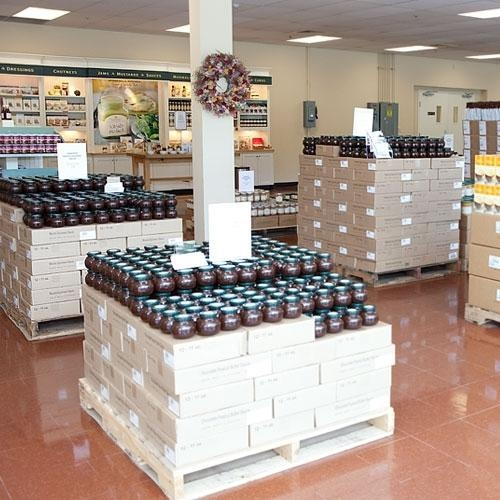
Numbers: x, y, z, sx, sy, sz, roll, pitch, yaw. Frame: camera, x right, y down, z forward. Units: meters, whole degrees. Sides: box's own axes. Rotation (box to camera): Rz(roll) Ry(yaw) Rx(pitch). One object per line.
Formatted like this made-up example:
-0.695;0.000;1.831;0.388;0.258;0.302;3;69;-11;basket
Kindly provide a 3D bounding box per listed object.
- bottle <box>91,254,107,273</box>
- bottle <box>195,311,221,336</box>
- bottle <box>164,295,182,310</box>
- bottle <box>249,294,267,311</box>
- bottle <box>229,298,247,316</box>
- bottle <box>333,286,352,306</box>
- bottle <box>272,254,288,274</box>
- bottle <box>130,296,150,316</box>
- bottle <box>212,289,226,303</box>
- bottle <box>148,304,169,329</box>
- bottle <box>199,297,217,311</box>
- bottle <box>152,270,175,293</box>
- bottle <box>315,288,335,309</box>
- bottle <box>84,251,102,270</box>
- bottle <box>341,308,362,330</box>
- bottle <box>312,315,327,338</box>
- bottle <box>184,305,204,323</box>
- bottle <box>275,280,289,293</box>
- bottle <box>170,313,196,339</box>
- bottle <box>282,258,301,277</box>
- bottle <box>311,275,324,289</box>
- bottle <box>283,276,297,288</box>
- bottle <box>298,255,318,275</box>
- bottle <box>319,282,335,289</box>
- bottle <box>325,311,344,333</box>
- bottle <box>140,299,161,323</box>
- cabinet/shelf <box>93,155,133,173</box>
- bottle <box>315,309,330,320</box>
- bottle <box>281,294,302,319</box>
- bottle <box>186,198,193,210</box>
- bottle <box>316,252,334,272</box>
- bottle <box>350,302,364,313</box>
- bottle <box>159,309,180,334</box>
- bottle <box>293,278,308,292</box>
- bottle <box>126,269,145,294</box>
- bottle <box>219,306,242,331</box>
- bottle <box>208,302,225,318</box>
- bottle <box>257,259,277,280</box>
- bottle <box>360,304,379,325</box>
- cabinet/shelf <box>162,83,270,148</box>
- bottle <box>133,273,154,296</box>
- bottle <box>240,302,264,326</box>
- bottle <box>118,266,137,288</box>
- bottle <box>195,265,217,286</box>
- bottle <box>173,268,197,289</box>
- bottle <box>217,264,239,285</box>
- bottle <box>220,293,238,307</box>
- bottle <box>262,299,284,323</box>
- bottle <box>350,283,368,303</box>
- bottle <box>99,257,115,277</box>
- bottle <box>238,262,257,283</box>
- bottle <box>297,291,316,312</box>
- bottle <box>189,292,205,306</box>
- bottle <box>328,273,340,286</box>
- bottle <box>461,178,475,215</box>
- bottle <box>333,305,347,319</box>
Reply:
-0.860;0.078;2.667;0.119;0.088;0.107;-1;7;-22;bottle
-0.163;0.294;1.881;0.111;0.077;0.097;0;1;-3;bottle
-0.339;0.231;2.072;0.060;0.041;0.054;1;6;-3;bottle
0.039;0.227;2.096;0.073;0.053;0.044;1;7;9;bottle
-0.050;0.243;2.049;0.072;0.051;0.056;1;6;-2;bottle
0.456;0.233;2.379;0.108;0.080;0.095;0;1;-4;bottle
0.171;0.077;2.486;0.101;0.073;0.089;2;9;6;bottle
-0.516;0.255;2.164;0.107;0.078;0.094;1;1;-2;bottle
-0.138;0.206;2.137;0.060;0.033;0.050;-2;8;-16;bottle
-0.397;0.285;1.983;0.103;0.082;0.094;2;2;0;bottle
-0.182;0.238;2.043;0.059;0.042;0.053;-1;7;-19;bottle
-0.391;0.147;2.191;0.110;0.082;0.105;-1;3;0;bottle
0.354;0.241;2.310;0.112;0.083;0.098;0;0;-4;bottle
-0.945;0.060;2.782;0.129;0.106;0.114;0;7;5;bottle
0.508;0.340;2.304;0.066;0.101;0.084;4;11;36;bottle
0.331;0.355;2.192;0.035;0.102;0.108;3;10;30;bottle
-0.235;0.267;1.947;0.072;0.050;0.063;1;4;-3;bottle
0.160;0.182;2.322;0.060;0.040;0.053;-2;6;-18;bottle
-0.258;0.299;1.842;0.111;0.080;0.097;1;3;1;bottle
0.218;0.095;2.472;0.110;0.081;0.096;0;0;1;bottle
0.352;0.167;2.403;0.063;0.025;0.054;0;17;2;bottle
0.209;0.167;2.409;0.057;0.041;0.051;-2;6;-16;bottle
0.323;0.085;2.553;0.089;0.098;0.111;-1;8;7;bottle
0.384;0.184;2.358;0.071;0.028;0.075;-1;8;0;bottle
0.405;0.345;2.279;0.107;0.080;0.094;-2;11;-11;bottle
-0.440;0.268;2.068;0.108;0.086;0.098;2;3;0;bottle
-3.340;-2.071;11.283;0.649;0.478;0.228;-5;13;-28;cabinet/shelf
0.347;0.309;2.260;0.057;0.041;0.050;2;6;11;bottle
0.190;0.253;2.100;0.110;0.081;0.096;0;-1;-1;bottle
-1.053;-0.788;8.292;0.145;0.171;0.060;7;13;45;bottle
0.424;0.061;2.639;0.117;0.083;0.102;0;-4;-1;bottle
0.546;0.291;2.374;0.051;0.039;0.050;1;3;0;bottle
-0.317;0.300;1.931;0.097;0.077;0.087;1;2;-5;bottle
0.260;0.177;2.374;0.069;0.047;0.064;2;-1;0;bottle
-0.534;0.154;2.202;0.118;0.086;0.104;1;4;-12;bottle
-0.081;0.287;1.954;0.084;0.095;0.058;-3;9;-6;bottle
-0.136;0.253;1.985;0.061;0.044;0.055;0;3;15;bottle
0.081;0.104;2.348;0.057;0.102;0.088;6;12;42;bottle
0.599;0.329;2.401;0.110;0.083;0.097;0;0;2;bottle
-0.680;-3.638;12.805;3.205;1.843;0.592;-6;10;-29;cabinet/shelf
-0.486;0.160;2.184;0.116;0.084;0.102;1;1;-2;bottle
0.007;0.273;1.989;0.110;0.082;0.096;0;-1;-2;bottle
-0.608;0.131;2.296;0.107;0.082;0.106;1;5;0;bottle
-0.205;0.124;2.251;0.105;0.077;0.099;-1;2;0;bottle
-0.296;0.134;2.208;0.107;0.081;0.100;-1;6;0;bottle
-0.106;0.118;2.223;0.113;0.081;0.099;0;2;-3;bottle
-0.097;0.224;2.113;0.055;0.032;0.052;2;1;0;bottle
0.099;0.271;2.090;0.114;0.084;0.099;0;0;-3;bottle
0.565;0.225;2.432;0.109;0.107;0.099;-1;1;-2;bottle
-0.778;0.095;2.553;0.111;0.073;0.098;0;7;-10;bottle
-0.010;0.115;2.277;0.113;0.082;0.099;0;2;1;bottle
0.270;0.245;2.217;0.110;0.090;0.095;-1;0;-8;bottle
-0.234;0.217;2.109;0.066;0.049;0.053;0;7;-2;bottle
0.444;0.156;2.466;0.068;0.051;0.060;4;8;9;bottle
2.941;-0.671;6.318;0.136;0.403;0.440;2;9;26;bottle
0.446;0.310;2.310;0.062;0.044;0.054;1;1;2;bottle
